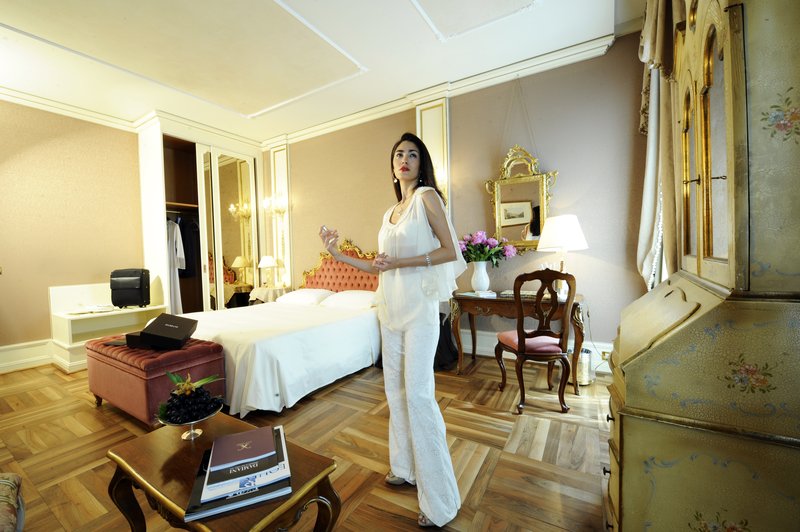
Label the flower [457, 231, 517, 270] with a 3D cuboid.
[{"bbox_3d":[0.882,-0.176,5.692,0.436,0.325,0.390,16,-23,-33],"label":"flower"}]

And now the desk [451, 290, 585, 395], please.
[{"bbox_3d":[1.206,0.736,5.549,1.242,0.942,0.559,4,12,25],"label":"desk"}]

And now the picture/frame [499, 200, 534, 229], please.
[{"bbox_3d":[1.305,-0.580,5.773,0.305,0.248,0.024,-1,-1,29],"label":"picture/frame"}]

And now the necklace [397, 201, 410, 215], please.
[{"bbox_3d":[0.021,-0.424,3.828,0.037,0.077,0.104,35,29,-14],"label":"necklace"}]

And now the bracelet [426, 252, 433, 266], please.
[{"bbox_3d":[0.204,-0.042,3.664,0.044,0.096,0.042,-5,4,3],"label":"bracelet"}]

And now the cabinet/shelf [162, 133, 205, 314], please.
[{"bbox_3d":[-3.063,-0.604,7.075,0.387,2.138,0.219,6,-3,-2],"label":"cabinet/shelf"}]

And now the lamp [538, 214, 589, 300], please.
[{"bbox_3d":[1.637,-0.086,5.284,0.416,0.843,0.434,-1,2,6],"label":"lamp"}]

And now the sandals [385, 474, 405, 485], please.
[{"bbox_3d":[-0.041,1.619,3.933,0.127,0.056,0.078,11,-1,-1],"label":"sandals"}]

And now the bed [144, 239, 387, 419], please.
[{"bbox_3d":[-1.147,0.580,5.406,1.422,1.126,1.399,-1,-1,42],"label":"bed"}]

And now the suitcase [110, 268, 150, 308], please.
[{"bbox_3d":[-3.292,0.273,6.341,0.400,0.476,0.258,-2,-2,0],"label":"suitcase"}]

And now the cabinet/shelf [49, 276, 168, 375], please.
[{"bbox_3d":[-3.236,0.659,5.643,0.343,0.831,0.969,1,5,30],"label":"cabinet/shelf"}]

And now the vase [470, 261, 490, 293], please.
[{"bbox_3d":[0.855,0.114,5.605,0.165,0.337,0.172,-5,4,-3],"label":"vase"}]

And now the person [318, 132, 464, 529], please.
[{"bbox_3d":[0.128,0.443,3.807,0.545,2.813,0.554,-9,6,-41],"label":"person"}]

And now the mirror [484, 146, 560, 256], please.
[{"bbox_3d":[1.362,-0.707,5.686,1.107,1.651,0.089,3,5,35],"label":"mirror"}]

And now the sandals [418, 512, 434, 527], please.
[{"bbox_3d":[0.177,1.810,3.673,0.065,0.051,0.112,-3,7,-43],"label":"sandals"}]

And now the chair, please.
[{"bbox_3d":[1.308,0.657,5.051,0.759,1.309,0.983,-4,5,17],"label":"chair"}]
